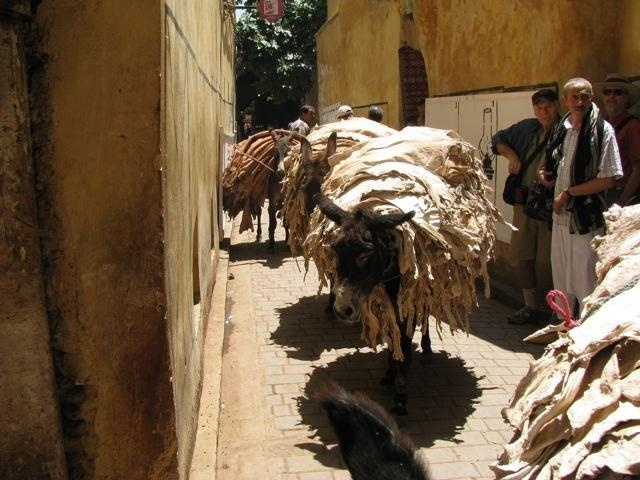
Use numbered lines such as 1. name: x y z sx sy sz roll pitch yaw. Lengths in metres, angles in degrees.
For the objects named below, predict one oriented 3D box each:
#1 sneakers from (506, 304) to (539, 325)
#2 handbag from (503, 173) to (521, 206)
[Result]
1. sneakers: 2.184 0.799 6.605 0.292 0.208 0.174 2 1 8
2. handbag: 2.014 -0.538 6.468 0.100 0.275 0.197 2 5 -19
